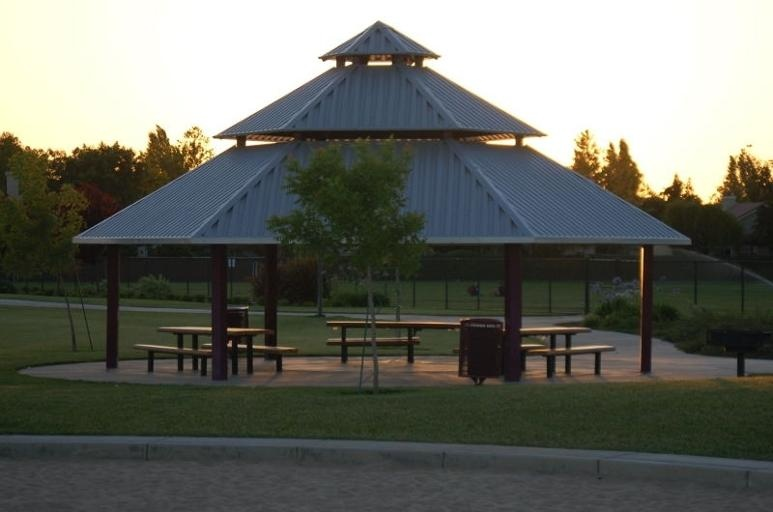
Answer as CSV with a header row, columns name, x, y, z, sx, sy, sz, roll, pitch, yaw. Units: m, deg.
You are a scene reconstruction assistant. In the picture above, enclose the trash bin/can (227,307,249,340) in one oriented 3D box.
name,x,y,z,sx,sy,sz,roll,pitch,yaw
trash bin/can,-3.964,1.703,28.086,0.587,0.611,0.595,-1,-2,26
